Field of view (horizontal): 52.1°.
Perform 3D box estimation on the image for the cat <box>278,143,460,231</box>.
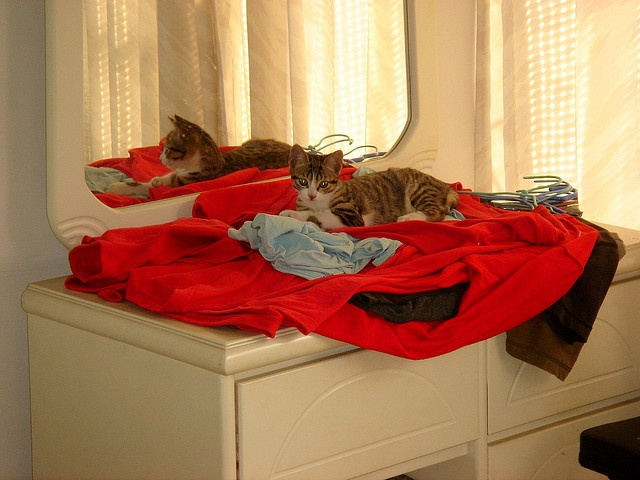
[{"bbox_3d":[0.164,-0.136,1.761,0.519,0.223,0.199,-2,4,-31],"label":"cat"}]
